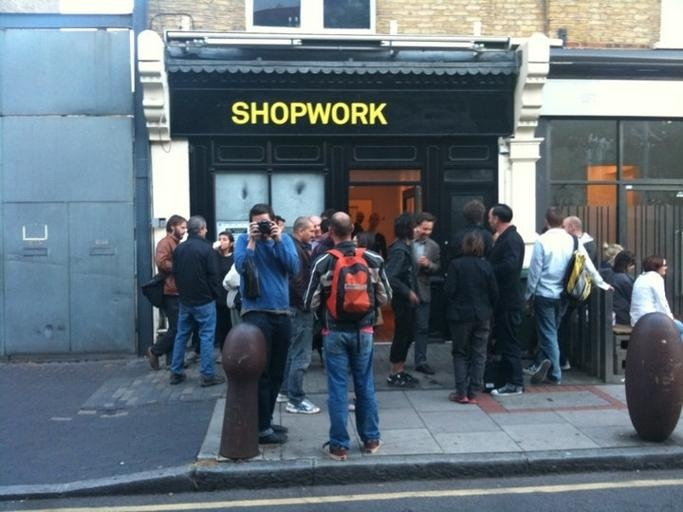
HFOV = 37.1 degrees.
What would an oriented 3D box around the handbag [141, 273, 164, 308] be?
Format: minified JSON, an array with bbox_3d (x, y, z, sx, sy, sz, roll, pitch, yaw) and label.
[{"bbox_3d":[-2.898,0.524,15.785,0.301,0.467,0.446,7,0,-26],"label":"handbag"}]

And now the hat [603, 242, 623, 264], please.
[{"bbox_3d":[4.396,-0.035,16.548,0.244,0.193,0.185,-38,14,15],"label":"hat"}]

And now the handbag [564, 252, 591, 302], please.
[{"bbox_3d":[3.408,0.299,14.842,0.385,0.978,0.684,-2,-1,23],"label":"handbag"}]

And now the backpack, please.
[{"bbox_3d":[0.119,0.372,12.809,0.549,0.921,0.489,-6,13,-17],"label":"backpack"}]

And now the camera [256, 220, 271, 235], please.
[{"bbox_3d":[-0.981,-0.349,12.962,0.170,0.179,0.099,-1,5,-3],"label":"camera"}]
